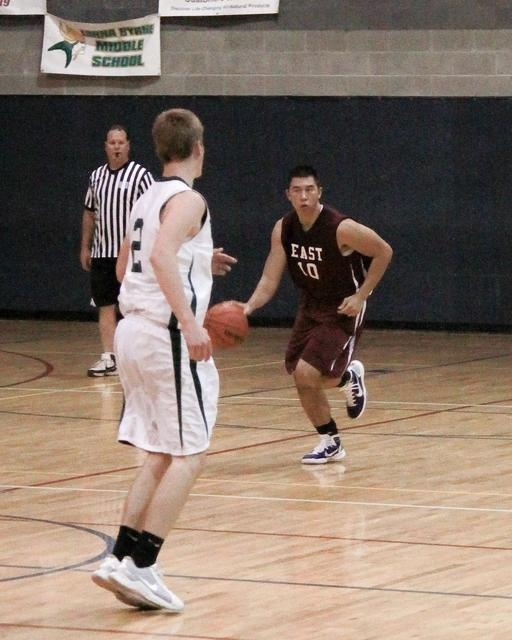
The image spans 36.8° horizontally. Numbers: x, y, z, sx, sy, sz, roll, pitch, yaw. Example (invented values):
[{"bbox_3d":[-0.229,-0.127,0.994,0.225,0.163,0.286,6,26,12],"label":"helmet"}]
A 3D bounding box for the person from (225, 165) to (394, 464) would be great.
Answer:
[{"bbox_3d":[0.307,-0.016,4.040,0.685,1.556,0.697,7,12,6],"label":"person"}]

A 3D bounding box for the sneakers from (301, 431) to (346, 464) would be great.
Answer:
[{"bbox_3d":[0.354,0.684,4.050,0.289,0.124,0.100,2,-5,-43],"label":"sneakers"}]

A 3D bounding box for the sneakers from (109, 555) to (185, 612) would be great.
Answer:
[{"bbox_3d":[-0.251,0.636,1.828,0.184,0.077,0.060,31,-37,-14],"label":"sneakers"}]

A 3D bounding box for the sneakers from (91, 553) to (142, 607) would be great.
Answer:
[{"bbox_3d":[-0.329,0.631,1.818,0.105,0.141,0.135,5,11,-2],"label":"sneakers"}]

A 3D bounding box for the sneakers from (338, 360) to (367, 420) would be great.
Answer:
[{"bbox_3d":[0.507,0.418,4.443,0.144,0.352,0.186,1,15,36],"label":"sneakers"}]

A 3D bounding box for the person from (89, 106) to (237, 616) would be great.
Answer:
[{"bbox_3d":[-0.230,0.179,1.923,0.274,1.065,0.527,4,12,-8],"label":"person"}]
